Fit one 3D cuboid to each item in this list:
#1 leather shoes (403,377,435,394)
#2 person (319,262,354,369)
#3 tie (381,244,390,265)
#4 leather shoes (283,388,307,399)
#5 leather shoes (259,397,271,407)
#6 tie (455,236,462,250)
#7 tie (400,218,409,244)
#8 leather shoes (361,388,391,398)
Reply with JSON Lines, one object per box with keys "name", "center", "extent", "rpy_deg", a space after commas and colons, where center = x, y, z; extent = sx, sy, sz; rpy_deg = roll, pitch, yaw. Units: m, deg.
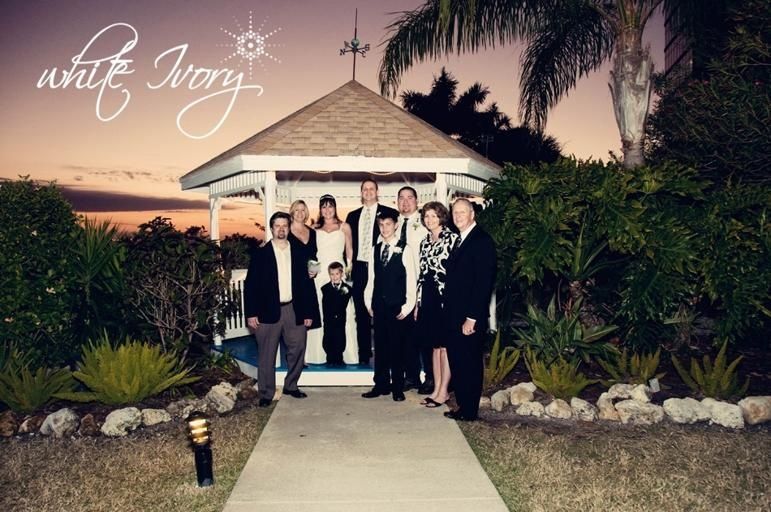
{"name": "leather shoes", "center": [0.607, 2.234, 10.251], "extent": [0.558, 0.257, 0.197], "rpy_deg": [5, -2, 13]}
{"name": "person", "center": [-0.885, 1.083, 10.891], "extent": [0.649, 2.041, 0.558], "rpy_deg": [5, 20, 3]}
{"name": "tie", "center": [0.011, -0.022, 9.658], "extent": [0.062, 0.301, 0.159], "rpy_deg": [-4, 4, -39]}
{"name": "leather shoes", "center": [-1.533, 2.317, 10.083], "extent": [0.396, 0.177, 0.162], "rpy_deg": [4, -2, 5]}
{"name": "leather shoes", "center": [-1.954, 2.372, 9.712], "extent": [0.148, 0.116, 0.147], "rpy_deg": [-7, -15, 36]}
{"name": "tie", "center": [1.098, -0.193, 9.029], "extent": [0.057, 0.158, 0.110], "rpy_deg": [27, -9, -6]}
{"name": "tie", "center": [0.301, -0.412, 9.695], "extent": [0.108, 0.376, 0.142], "rpy_deg": [-1, 3, 8]}
{"name": "leather shoes", "center": [-0.174, 2.297, 10.164], "extent": [0.509, 0.233, 0.181], "rpy_deg": [3, -5, -8]}
